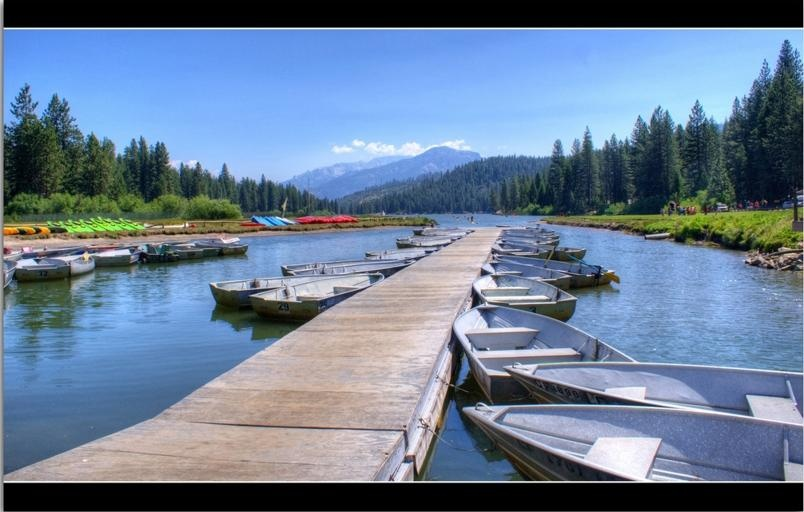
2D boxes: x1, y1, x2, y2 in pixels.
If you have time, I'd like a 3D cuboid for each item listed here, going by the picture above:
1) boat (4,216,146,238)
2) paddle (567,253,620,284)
[{"bbox_3d":[-25.403,-2.294,44.361,6.245,1.278,11.646,-3,4,-7],"label":"boat"},{"bbox_3d":[6.902,0.538,20.415,1.259,0.682,1.834,-2,5,4],"label":"paddle"}]
